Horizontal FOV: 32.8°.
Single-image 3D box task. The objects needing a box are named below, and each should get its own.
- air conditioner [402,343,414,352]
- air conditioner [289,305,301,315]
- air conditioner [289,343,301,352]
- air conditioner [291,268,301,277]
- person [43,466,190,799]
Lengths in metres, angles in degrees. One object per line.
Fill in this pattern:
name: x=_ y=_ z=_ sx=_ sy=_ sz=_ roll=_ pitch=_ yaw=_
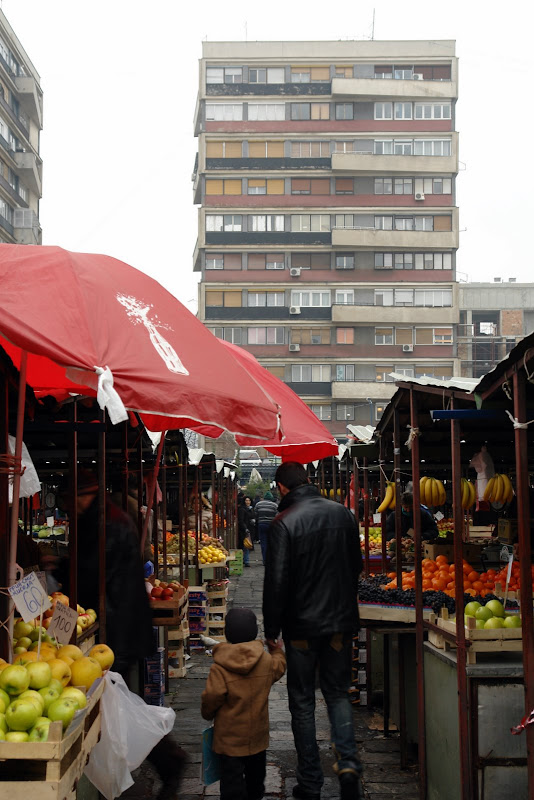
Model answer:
air conditioner: x=8.770 y=-3.130 z=56.413 sx=0.751 sy=0.585 sz=0.436 roll=-1 pitch=-5 yaw=6
air conditioner: x=1.722 y=-5.468 z=56.320 sx=0.764 sy=0.604 sz=0.458 roll=0 pitch=-5 yaw=3
air conditioner: x=1.724 y=-3.154 z=56.513 sx=0.683 sy=0.537 sz=0.414 roll=0 pitch=-11 yaw=-3
air conditioner: x=1.763 y=-7.940 z=56.458 sx=0.654 sy=0.572 sz=0.545 roll=0 pitch=-9 yaw=-3
person: x=-0.736 y=1.183 z=5.272 sx=0.777 sy=1.994 sz=1.079 roll=2 pitch=5 yaw=41
